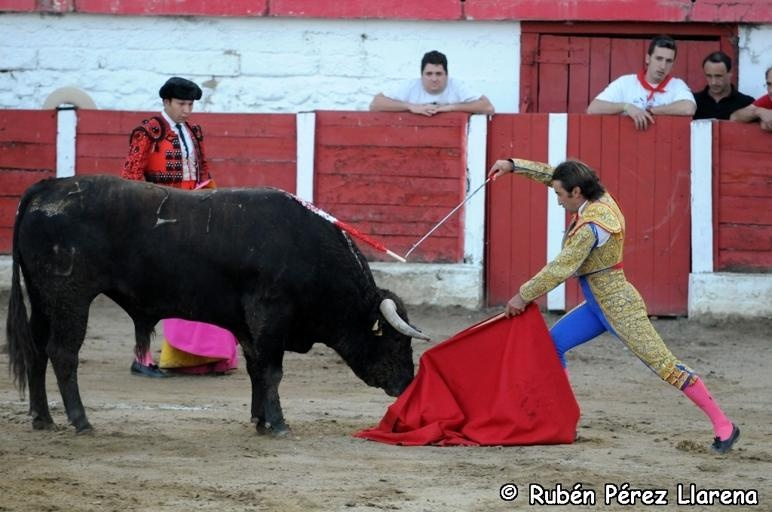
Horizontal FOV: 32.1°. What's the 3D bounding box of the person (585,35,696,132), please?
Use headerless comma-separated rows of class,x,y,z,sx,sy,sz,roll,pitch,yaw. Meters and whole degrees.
person,2.177,-1.244,11.373,0.914,1.097,0.655,4,22,0

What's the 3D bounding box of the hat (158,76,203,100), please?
hat,-1.408,-1.145,9.297,0.190,0.109,0.204,1,4,4

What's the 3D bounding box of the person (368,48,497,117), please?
person,0.403,-1.461,11.472,1.057,0.544,0.456,2,14,-1

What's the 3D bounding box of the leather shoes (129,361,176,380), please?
leather shoes,-1.724,0.835,9.748,0.264,0.099,0.119,1,3,-4
